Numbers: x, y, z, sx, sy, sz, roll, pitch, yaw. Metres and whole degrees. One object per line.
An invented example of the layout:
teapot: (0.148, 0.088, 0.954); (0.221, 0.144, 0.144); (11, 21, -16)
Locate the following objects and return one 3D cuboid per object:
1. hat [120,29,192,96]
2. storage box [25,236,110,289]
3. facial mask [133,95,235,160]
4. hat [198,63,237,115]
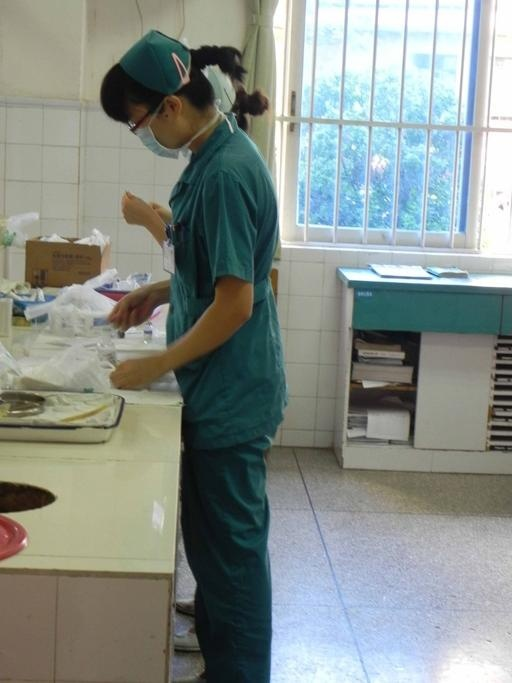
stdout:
hat: (-0.178, -0.527, 1.201); (0.145, 0.098, 0.084); (15, 19, 37)
storage box: (-0.764, -0.318, 2.555); (0.243, 0.138, 0.225); (1, 10, -1)
facial mask: (-0.149, -0.441, 1.375); (0.136, 0.143, 0.062); (41, 3, 17)
hat: (-0.079, -0.533, 1.343); (0.063, 0.069, 0.077); (0, -19, -4)
